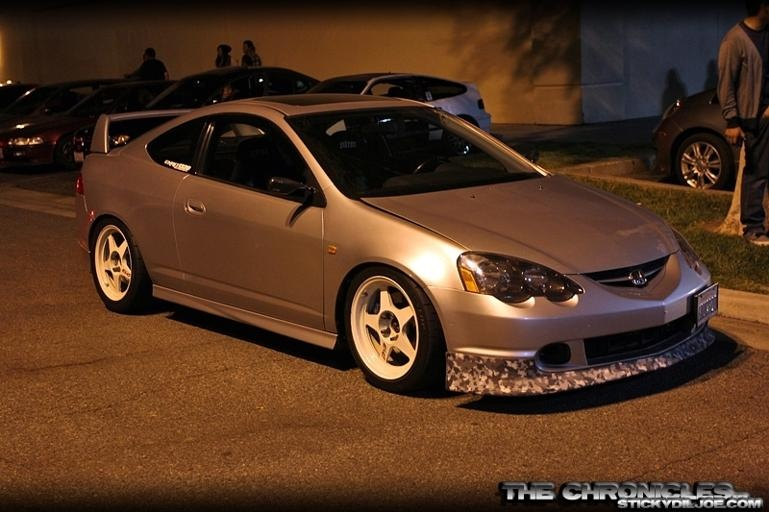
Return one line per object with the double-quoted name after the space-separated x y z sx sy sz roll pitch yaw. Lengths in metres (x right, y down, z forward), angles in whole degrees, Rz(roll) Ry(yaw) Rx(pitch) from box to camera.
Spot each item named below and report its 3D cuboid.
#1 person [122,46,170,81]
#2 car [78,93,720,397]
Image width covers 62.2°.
-7.158 -5.643 19.054 1.393 1.144 0.846 -3 2 7 "person"
-0.004 -0.181 5.553 5.282 2.232 1.869 12 20 29 "car"
